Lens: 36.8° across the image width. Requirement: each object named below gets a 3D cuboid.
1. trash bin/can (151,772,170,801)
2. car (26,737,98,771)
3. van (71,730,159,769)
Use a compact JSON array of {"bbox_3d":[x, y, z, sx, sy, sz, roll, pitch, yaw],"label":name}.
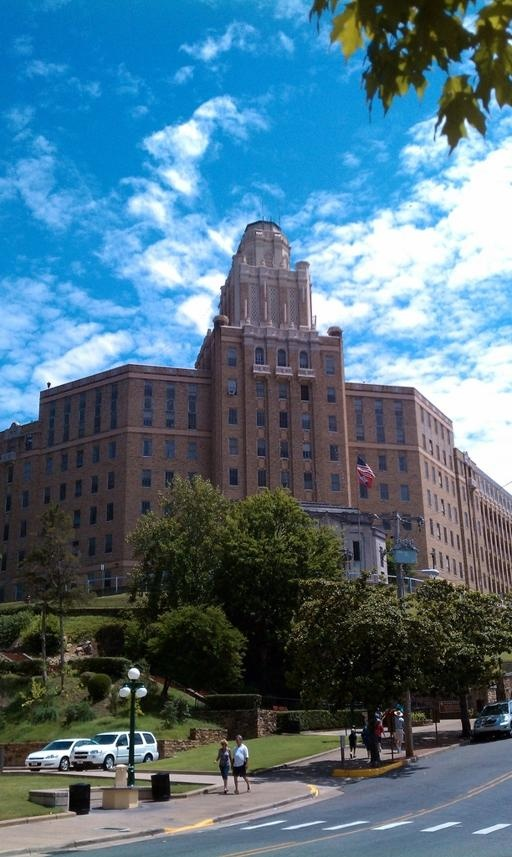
[{"bbox_3d":[-2.990,11.361,24.421,0.616,0.793,0.660,1,-18,-11],"label":"trash bin/can"},{"bbox_3d":[-8.570,13.970,33.007,1.270,0.900,2.732,-15,-32,20],"label":"car"},{"bbox_3d":[-6.126,14.271,34.160,1.810,1.484,3.779,-23,-33,38],"label":"van"}]
